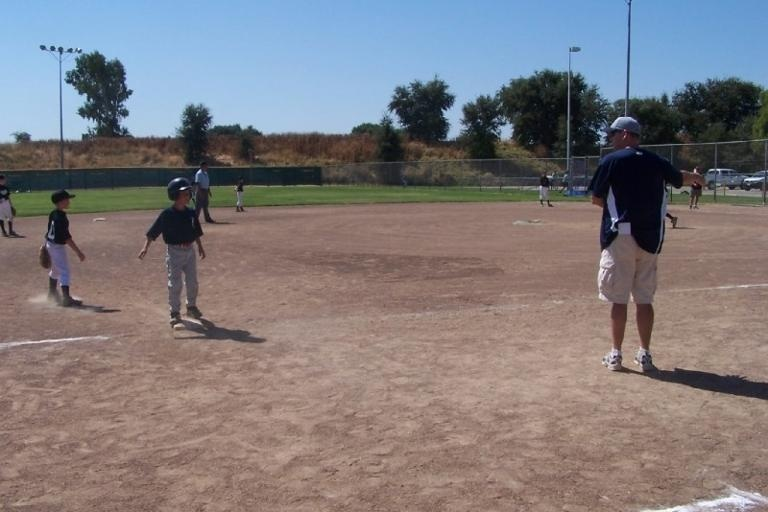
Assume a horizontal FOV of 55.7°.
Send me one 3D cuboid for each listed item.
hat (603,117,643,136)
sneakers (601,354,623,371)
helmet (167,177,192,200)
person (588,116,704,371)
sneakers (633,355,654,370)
[{"bbox_3d":[2.505,-1.388,7.666,0.310,0.171,0.232,10,13,28],"label":"hat"},{"bbox_3d":[2.379,1.098,7.567,0.105,0.111,0.246,2,6,15],"label":"sneakers"},{"bbox_3d":[-2.740,-0.906,9.527,0.348,0.287,0.293,5,9,0],"label":"helmet"},{"bbox_3d":[2.615,-0.134,7.628,0.909,2.568,0.973,4,15,22],"label":"person"},{"bbox_3d":[2.709,1.105,7.553,0.099,0.102,0.237,1,4,10],"label":"sneakers"}]
